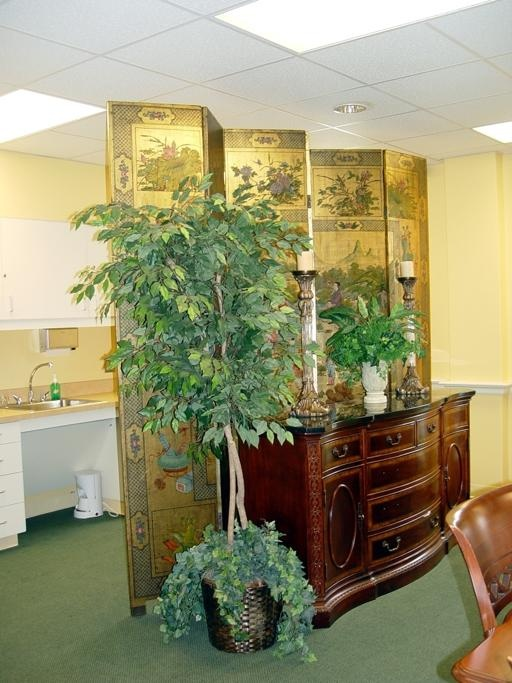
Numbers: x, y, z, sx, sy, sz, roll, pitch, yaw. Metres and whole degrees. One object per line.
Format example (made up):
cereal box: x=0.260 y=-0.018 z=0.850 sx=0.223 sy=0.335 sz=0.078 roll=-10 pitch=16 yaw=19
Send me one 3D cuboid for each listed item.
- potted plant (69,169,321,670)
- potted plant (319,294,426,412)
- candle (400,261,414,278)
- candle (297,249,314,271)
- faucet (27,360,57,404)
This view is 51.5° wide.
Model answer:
potted plant: x=-0.202 y=0.255 z=2.393 sx=0.930 sy=2.407 sz=1.229 roll=-2 pitch=-4 yaw=6
potted plant: x=0.688 y=0.085 z=3.550 sx=0.799 sy=0.747 sz=0.714 roll=-1 pitch=-7 yaw=4
candle: x=1.075 y=-0.507 z=3.789 sx=0.084 sy=0.169 sz=0.282 roll=-3 pitch=-3 yaw=15
candle: x=0.278 y=-0.444 z=2.901 sx=0.118 sy=0.126 sz=0.117 roll=-2 pitch=4 yaw=20
faucet: x=-1.897 y=0.362 z=4.686 sx=0.236 sy=0.351 sz=0.178 roll=1 pitch=-5 yaw=-36
